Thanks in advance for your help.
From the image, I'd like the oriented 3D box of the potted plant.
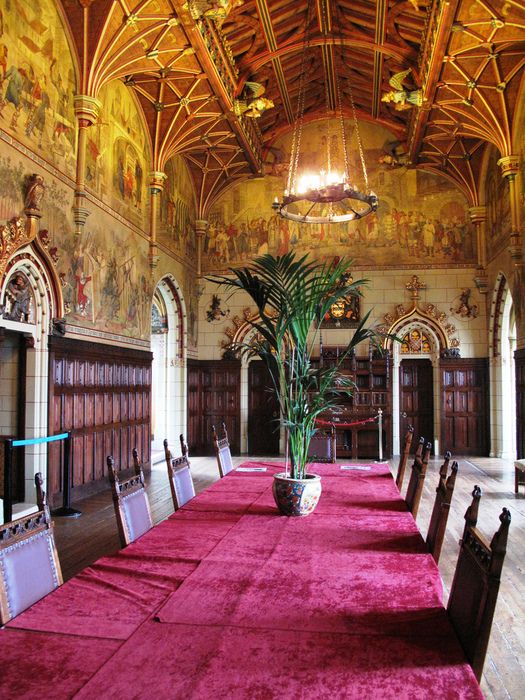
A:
[{"bbox_3d":[0.275,0.341,3.494,1.112,1.782,1.098,0,-3,-2],"label":"potted plant"}]
